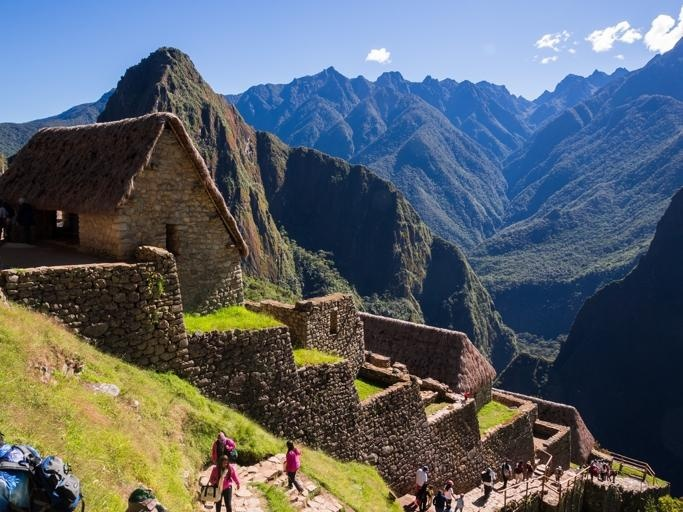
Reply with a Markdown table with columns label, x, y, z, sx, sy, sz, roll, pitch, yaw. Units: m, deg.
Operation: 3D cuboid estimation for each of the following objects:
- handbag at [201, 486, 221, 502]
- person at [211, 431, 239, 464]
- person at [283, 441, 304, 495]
| label | x | y | z | sx | sy | sz | roll | pitch | yaw |
| --- | --- | --- | --- | --- | --- | --- | --- | --- | --- |
| handbag | -2.885 | 5.236 | 12.714 | 0.309 | 0.315 | 0.110 | 4 | -14 | -14 |
| person | -2.695 | 4.461 | 13.092 | 0.605 | 0.881 | 0.318 | -11 | 17 | -23 |
| person | -1.282 | 5.314 | 14.882 | 0.449 | 1.352 | 0.873 | -7 | 8 | -7 |
